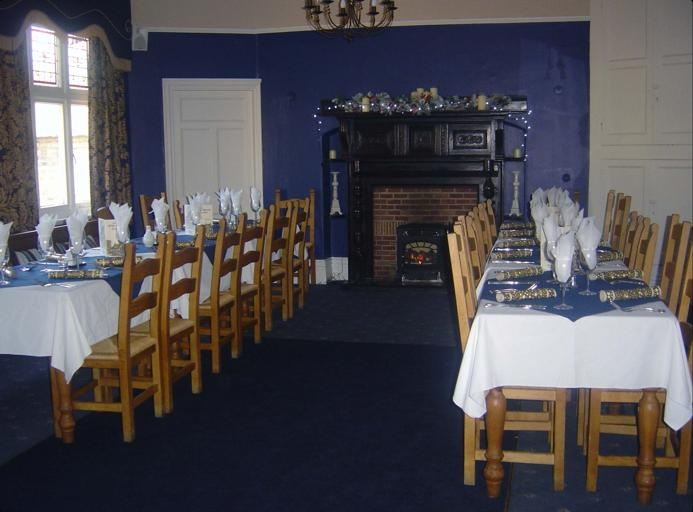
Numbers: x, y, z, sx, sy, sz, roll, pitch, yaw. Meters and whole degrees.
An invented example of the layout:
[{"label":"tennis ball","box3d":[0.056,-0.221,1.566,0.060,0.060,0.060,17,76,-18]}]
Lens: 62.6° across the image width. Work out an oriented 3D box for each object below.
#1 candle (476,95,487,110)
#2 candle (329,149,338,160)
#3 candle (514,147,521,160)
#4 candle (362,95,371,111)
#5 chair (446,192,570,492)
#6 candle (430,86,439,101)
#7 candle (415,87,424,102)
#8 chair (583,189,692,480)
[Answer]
[{"label":"candle","box3d":[1.730,-1.962,7.280,0.146,0.189,0.160,2,11,13]},{"label":"candle","box3d":[-0.195,-1.437,8.048,0.135,0.179,0.146,2,10,15]},{"label":"candle","box3d":[2.265,-1.359,7.577,0.112,0.147,0.121,1,15,7]},{"label":"candle","box3d":[0.256,-2.022,7.579,0.127,0.188,0.088,-1,11,0]},{"label":"chair","box3d":[1.006,0.571,3.531,0.411,0.939,1.706,0,13,7]},{"label":"candle","box3d":[1.161,-2.179,7.580,0.117,0.190,0.396,1,12,9]},{"label":"candle","box3d":[0.961,-2.139,7.515,0.136,0.181,0.147,2,7,9]},{"label":"chair","box3d":[2.070,0.382,4.138,0.638,1.445,2.734,4,12,23]}]
